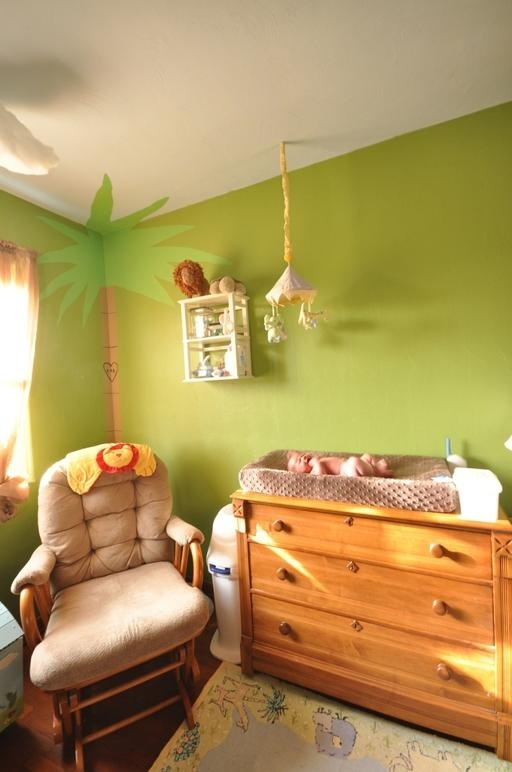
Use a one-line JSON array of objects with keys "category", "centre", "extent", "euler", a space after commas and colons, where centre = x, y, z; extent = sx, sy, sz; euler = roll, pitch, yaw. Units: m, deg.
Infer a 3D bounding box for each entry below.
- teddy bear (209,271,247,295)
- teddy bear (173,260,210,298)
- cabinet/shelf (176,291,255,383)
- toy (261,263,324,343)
[{"category": "teddy bear", "centre": [-0.161, -0.519, 2.860], "extent": [0.126, 0.041, 0.113], "euler": [-3, -1, 39]}, {"category": "teddy bear", "centre": [-0.336, -0.556, 2.920], "extent": [0.177, 0.195, 0.141], "euler": [-4, 14, -5]}, {"category": "cabinet/shelf", "centre": [-0.198, -0.264, 2.948], "extent": [0.474, 0.566, 0.210], "euler": [1, 6, 34]}, {"category": "toy", "centre": [0.191, -0.400, 2.691], "extent": [0.326, 0.436, 0.286], "euler": [-10, 10, -25]}]
